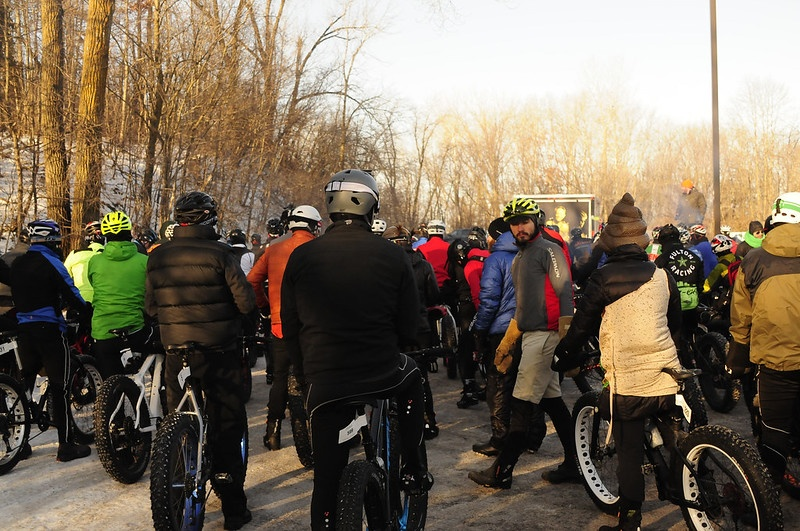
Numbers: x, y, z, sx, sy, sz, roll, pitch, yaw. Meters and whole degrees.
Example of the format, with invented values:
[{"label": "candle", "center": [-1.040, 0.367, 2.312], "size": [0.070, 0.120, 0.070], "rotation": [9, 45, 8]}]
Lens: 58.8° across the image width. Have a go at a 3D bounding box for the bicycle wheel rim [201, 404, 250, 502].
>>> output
[{"label": "bicycle wheel rim", "center": [-1.921, 2.101, 7.948], "size": [0.248, 0.907, 0.706], "rotation": [2, -5, -28]}]
